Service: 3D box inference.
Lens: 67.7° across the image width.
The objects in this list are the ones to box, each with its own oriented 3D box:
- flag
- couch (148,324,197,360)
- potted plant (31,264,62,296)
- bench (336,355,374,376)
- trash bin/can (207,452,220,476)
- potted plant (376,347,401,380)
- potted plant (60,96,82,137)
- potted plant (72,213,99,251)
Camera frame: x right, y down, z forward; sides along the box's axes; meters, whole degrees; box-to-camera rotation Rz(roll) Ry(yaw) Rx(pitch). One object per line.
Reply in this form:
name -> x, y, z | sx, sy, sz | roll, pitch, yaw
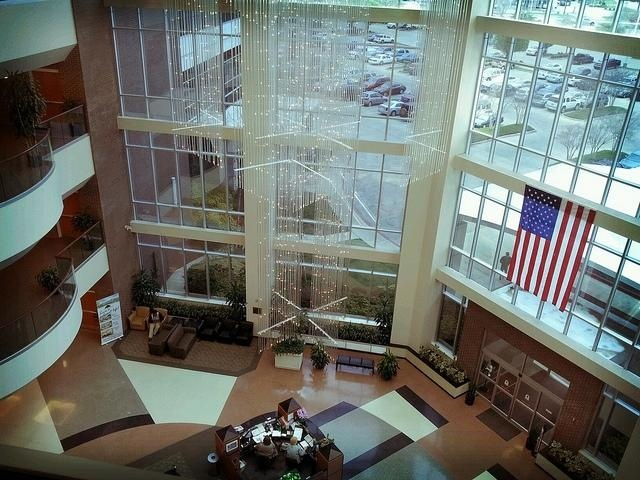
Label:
flag -> 6.646, 0.191, 13.854 | 0.464, 3.158, 1.977 | -14, 28, -31
couch -> -5.621, 3.835, 18.167 | 1.312, 0.697, 1.358 | 12, 38, 9
potted plant -> -8.631, 1.266, 15.314 | 0.945, 0.759, 0.522 | 20, 30, 36
bench -> 1.313, 4.616, 17.663 | 1.711, 0.575, 0.617 | 4, 11, 8
trash bin/can -> -3.095, 6.511, 13.946 | 0.414, 0.606, 0.443 | -15, 42, -24
potted plant -> 2.546, 4.562, 17.772 | 0.862, 1.123, 0.862 | 16, 27, 32
potted plant -> -8.321, -4.065, 15.809 | 0.678, 1.147, 0.665 | 9, 25, 19
potted plant -> -8.257, -0.276, 16.938 | 0.760, 1.122, 1.141 | -12, 27, -27
